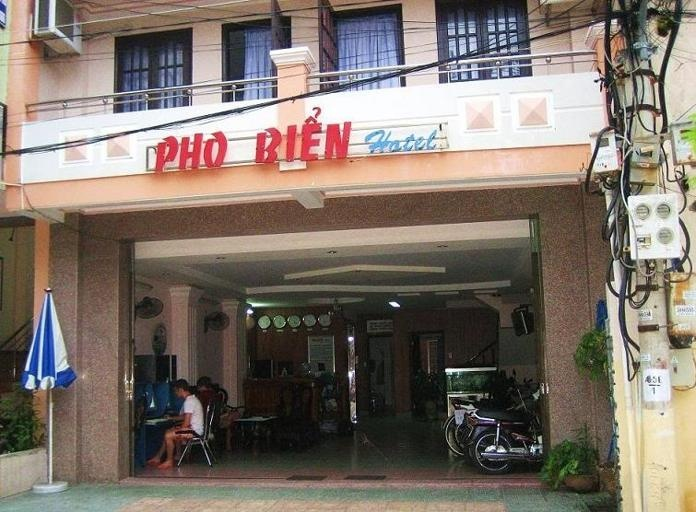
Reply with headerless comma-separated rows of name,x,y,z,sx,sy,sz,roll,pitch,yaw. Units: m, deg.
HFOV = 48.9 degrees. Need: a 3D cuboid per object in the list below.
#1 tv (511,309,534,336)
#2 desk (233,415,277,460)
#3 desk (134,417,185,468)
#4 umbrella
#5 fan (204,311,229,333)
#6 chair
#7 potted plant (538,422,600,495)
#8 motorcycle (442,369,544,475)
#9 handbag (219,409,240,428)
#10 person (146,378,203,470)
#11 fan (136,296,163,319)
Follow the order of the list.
tv,3.956,1.483,17.275,0.508,0.940,0.717,-2,-4,13
desk,-1.848,3.480,15.309,0.809,0.560,2.014,0,-5,-7
desk,-3.417,3.381,14.136,1.058,1.009,0.595,-5,-13,6
umbrella,-4.491,1.985,11.486,0.706,3.023,0.748,0,-5,-8
fan,-2.982,1.489,17.118,0.477,0.422,0.407,8,-26,-31
chair,-2.606,3.181,13.907,0.997,1.678,1.010,3,-14,-9
potted plant,3.166,2.861,10.818,0.830,1.044,0.752,3,-9,-1
motorcycle,2.329,2.714,12.321,2.125,1.446,1.170,-2,-5,-8
handbag,-2.372,3.256,15.514,0.510,0.408,0.168,-3,11,-23
person,-3.029,2.920,13.524,0.941,1.439,1.193,1,-5,-15
fan,-3.974,0.992,14.948,0.422,0.425,0.855,-2,-5,14
